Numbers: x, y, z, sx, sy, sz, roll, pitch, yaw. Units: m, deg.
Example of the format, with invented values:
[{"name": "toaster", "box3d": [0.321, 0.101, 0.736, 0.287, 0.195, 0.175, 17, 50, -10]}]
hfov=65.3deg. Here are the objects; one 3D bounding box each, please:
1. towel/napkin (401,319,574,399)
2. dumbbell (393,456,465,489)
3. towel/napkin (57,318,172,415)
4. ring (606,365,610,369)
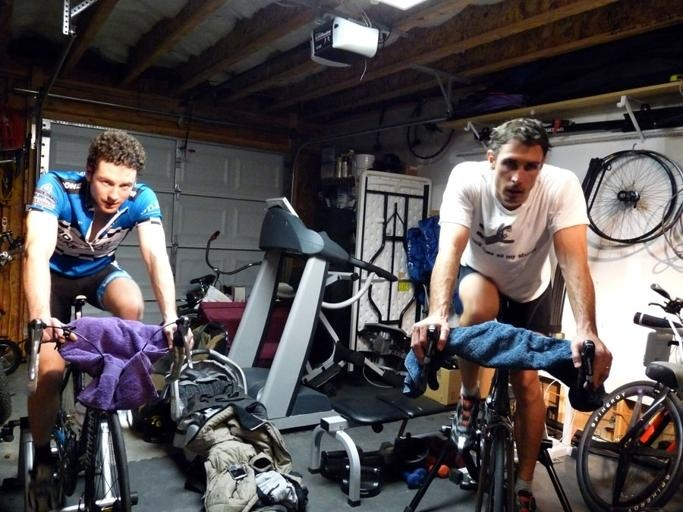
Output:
[{"name": "towel/napkin", "box3d": [0.661, 0.405, 2.377, 0.489, 0.408, 0.628, 4, -1, -32]}, {"name": "dumbbell", "box3d": [0.655, 1.551, 3.741, 0.322, 0.107, 0.311, 1, -6, -25]}, {"name": "towel/napkin", "box3d": [-1.119, 0.543, 2.629, 0.490, 0.465, 0.235, 3, 2, -26]}, {"name": "ring", "box3d": [1.138, 0.474, 2.271, 0.014, 0.006, 0.019, 2, -2, 0]}]
